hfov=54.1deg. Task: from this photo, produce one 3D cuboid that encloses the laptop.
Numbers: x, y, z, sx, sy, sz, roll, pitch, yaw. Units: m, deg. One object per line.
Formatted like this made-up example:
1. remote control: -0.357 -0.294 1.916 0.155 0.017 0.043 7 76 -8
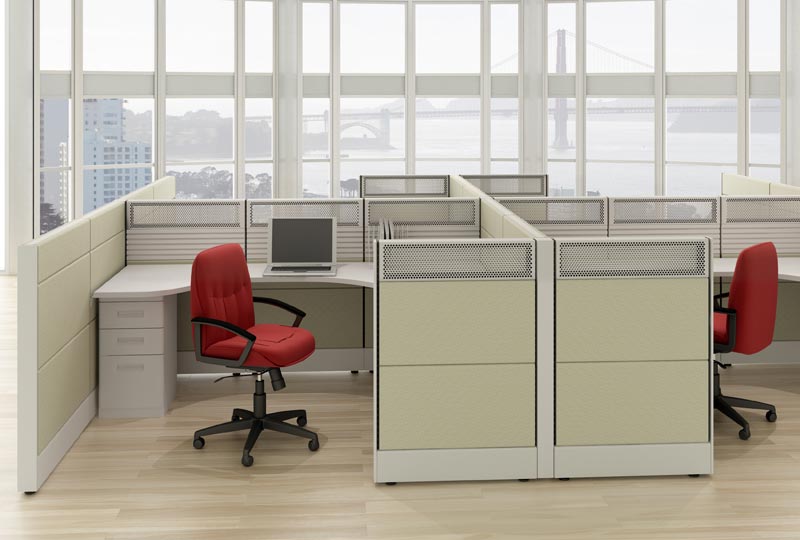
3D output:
1. laptop: -0.850 -0.166 6.751 0.737 0.529 0.473 0 -2 -2
